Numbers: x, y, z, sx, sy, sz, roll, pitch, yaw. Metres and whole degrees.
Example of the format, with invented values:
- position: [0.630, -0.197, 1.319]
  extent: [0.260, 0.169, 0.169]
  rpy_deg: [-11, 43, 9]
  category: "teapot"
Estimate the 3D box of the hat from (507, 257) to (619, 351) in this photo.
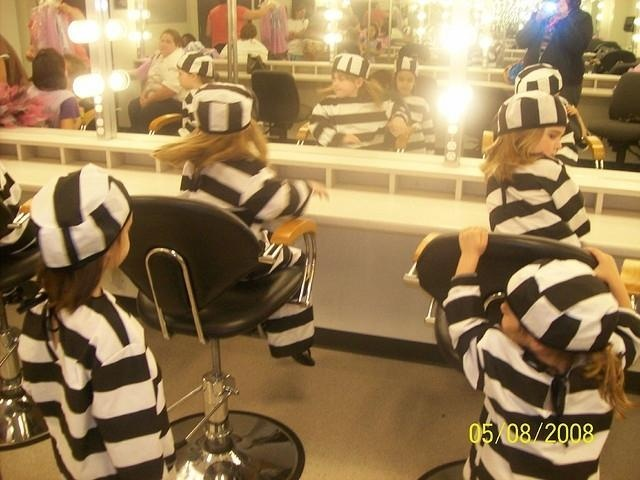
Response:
- position: [0.490, 0.150, 1.117]
  extent: [0.209, 0.119, 0.155]
  rpy_deg: [26, 69, 33]
  category: "hat"

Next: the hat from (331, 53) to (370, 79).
- position: [0.144, -0.819, 2.463]
  extent: [0.109, 0.078, 0.139]
  rpy_deg: [17, 11, 13]
  category: "hat"

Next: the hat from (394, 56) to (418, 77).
- position: [0.391, -0.772, 2.362]
  extent: [0.072, 0.072, 0.090]
  rpy_deg: [7, 10, 5]
  category: "hat"

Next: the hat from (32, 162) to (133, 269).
- position: [-0.489, -0.045, 1.084]
  extent: [0.190, 0.207, 0.097]
  rpy_deg: [-7, 19, -22]
  category: "hat"

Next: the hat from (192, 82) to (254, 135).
- position: [-0.300, -0.410, 1.642]
  extent: [0.199, 0.150, 0.136]
  rpy_deg: [-4, 19, -13]
  category: "hat"

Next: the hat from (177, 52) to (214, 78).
- position: [-0.581, -0.803, 2.452]
  extent: [0.131, 0.082, 0.105]
  rpy_deg: [-7, 37, -36]
  category: "hat"

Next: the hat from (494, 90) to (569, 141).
- position: [0.670, -0.413, 1.687]
  extent: [0.154, 0.100, 0.160]
  rpy_deg: [-1, 25, 23]
  category: "hat"

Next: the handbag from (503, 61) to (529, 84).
- position: [0.824, -0.714, 2.191]
  extent: [0.130, 0.056, 0.051]
  rpy_deg: [-38, 43, -13]
  category: "handbag"
